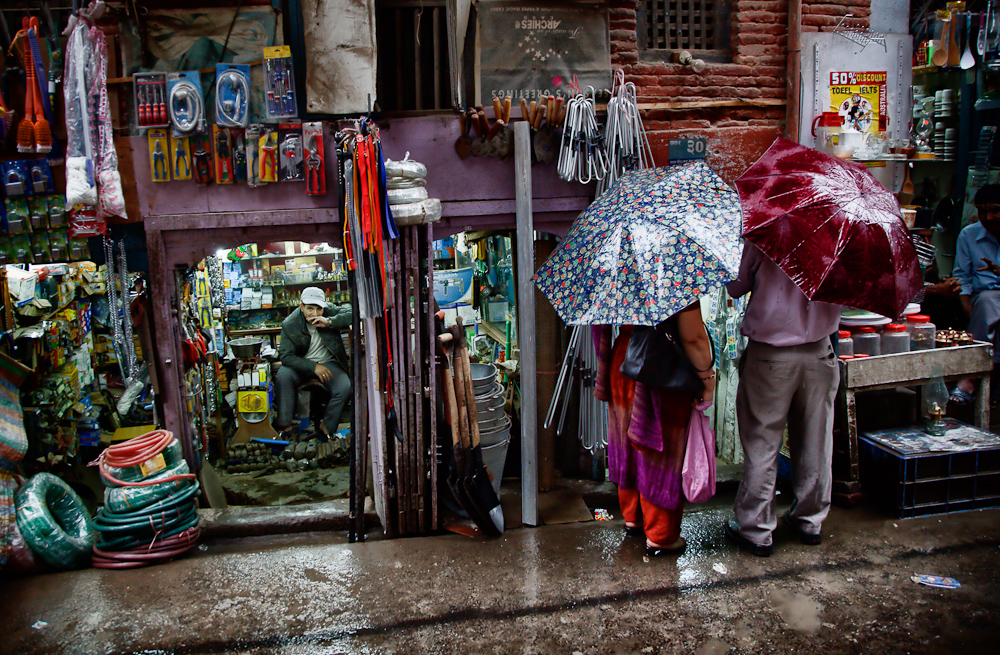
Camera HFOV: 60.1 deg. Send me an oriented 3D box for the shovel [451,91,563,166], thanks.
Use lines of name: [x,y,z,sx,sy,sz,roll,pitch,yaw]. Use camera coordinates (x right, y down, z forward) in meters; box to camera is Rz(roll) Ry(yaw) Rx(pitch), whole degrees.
shovel: [0.104,-1.820,7.966,1.034,0.625,0.401,-3,12,3]

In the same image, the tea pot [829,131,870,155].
tea pot: [3.386,-1.768,8.279,0.257,0.213,0.219,1,7,12]

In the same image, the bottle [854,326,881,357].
bottle: [3.348,0.123,7.815,0.260,0.241,0.147,-2,12,9]

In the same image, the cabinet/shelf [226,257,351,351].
cabinet/shelf: [-2.995,-0.300,11.862,1.204,1.221,0.403,-3,-1,-14]

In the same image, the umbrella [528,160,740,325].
umbrella: [1.101,-0.646,6.726,1.521,1.059,0.943,-1,12,16]

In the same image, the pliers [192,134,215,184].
pliers: [-2.677,-1.515,7.741,0.171,0.436,0.086,-8,12,-21]

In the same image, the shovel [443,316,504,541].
shovel: [-0.276,0.905,7.555,0.420,1.854,0.525,-12,14,-37]

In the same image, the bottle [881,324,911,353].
bottle: [3.598,0.101,7.855,0.224,0.279,0.237,-1,5,12]

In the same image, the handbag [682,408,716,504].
handbag: [1.639,1.028,6.969,0.370,0.773,0.184,-14,15,-41]

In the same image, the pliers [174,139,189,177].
pliers: [-2.859,-1.530,7.724,0.166,0.353,0.066,-7,12,-15]

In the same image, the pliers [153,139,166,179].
pliers: [-3.055,-1.499,7.709,0.144,0.365,0.076,-7,12,-15]

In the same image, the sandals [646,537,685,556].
sandals: [1.385,1.848,7.219,0.335,0.133,0.126,-4,5,-13]

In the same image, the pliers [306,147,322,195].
pliers: [-1.690,-1.417,7.832,0.148,0.393,0.057,-8,12,-20]

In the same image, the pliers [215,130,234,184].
pliers: [-2.492,-1.553,7.755,0.173,0.474,0.071,-7,12,-13]

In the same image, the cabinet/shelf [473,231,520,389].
cabinet/shelf: [-0.022,-0.203,10.406,0.472,1.497,1.531,-3,11,-3]

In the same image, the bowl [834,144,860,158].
bowl: [3.279,-1.679,8.195,0.118,0.098,0.132,-1,3,-2]

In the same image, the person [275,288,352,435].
person: [-2.266,0.421,10.435,0.993,1.749,0.794,-8,12,-19]
